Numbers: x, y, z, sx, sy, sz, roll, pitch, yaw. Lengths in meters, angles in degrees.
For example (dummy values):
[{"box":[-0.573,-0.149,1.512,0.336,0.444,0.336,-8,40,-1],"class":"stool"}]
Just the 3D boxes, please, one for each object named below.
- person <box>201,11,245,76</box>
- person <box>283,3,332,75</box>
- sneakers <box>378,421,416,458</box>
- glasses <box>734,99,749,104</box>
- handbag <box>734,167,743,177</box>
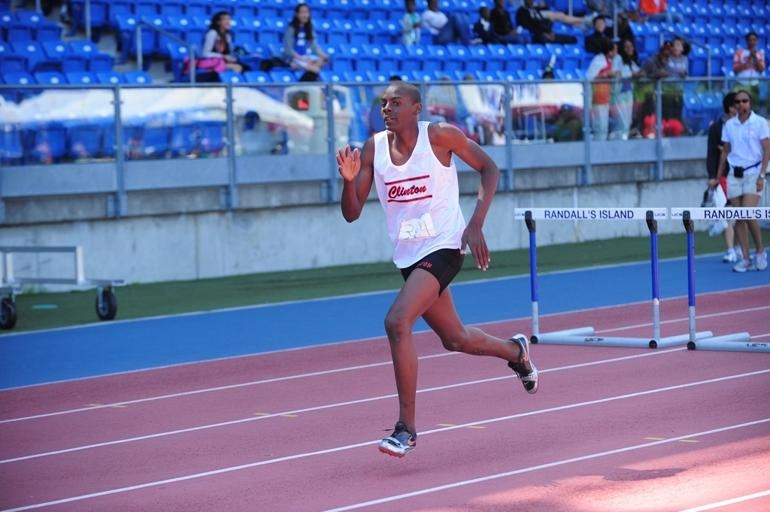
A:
[{"box":[-2.858,-3.829,21.325,0.531,1.043,0.877,2,12,19],"class":"person"},{"box":[-1.430,-3.970,22.091,0.785,1.400,1.123,-3,11,-4],"class":"person"},{"box":[0.156,1.745,11.439,0.201,0.242,0.442,14,0,29],"class":"sneakers"},{"box":[5.383,-2.391,18.383,0.112,0.091,0.231,-8,13,-28],"class":"glasses"},{"box":[5.415,-1.330,18.565,0.088,0.149,0.155,2,-1,-42],"class":"handbag"}]
